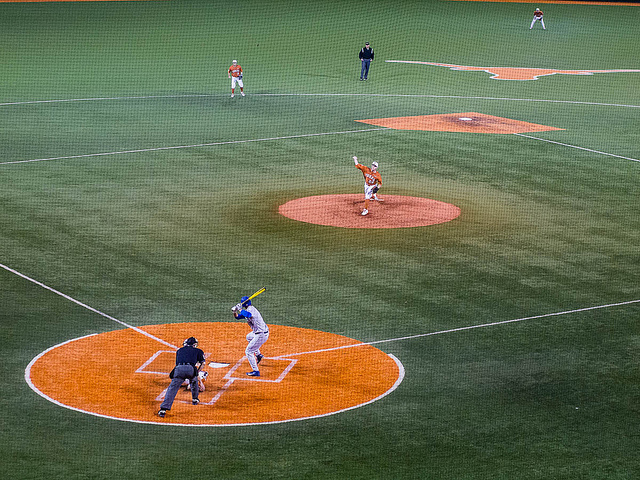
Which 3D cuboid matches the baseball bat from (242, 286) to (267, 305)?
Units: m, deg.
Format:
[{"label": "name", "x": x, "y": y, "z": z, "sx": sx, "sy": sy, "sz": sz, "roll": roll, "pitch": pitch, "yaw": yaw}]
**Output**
[{"label": "baseball bat", "x": -1.862, "y": 1.543, "z": 27.781, "sx": 0.192, "sy": 1.382, "sz": 0.074, "roll": 46, "pitch": 54, "yaw": -12}]
